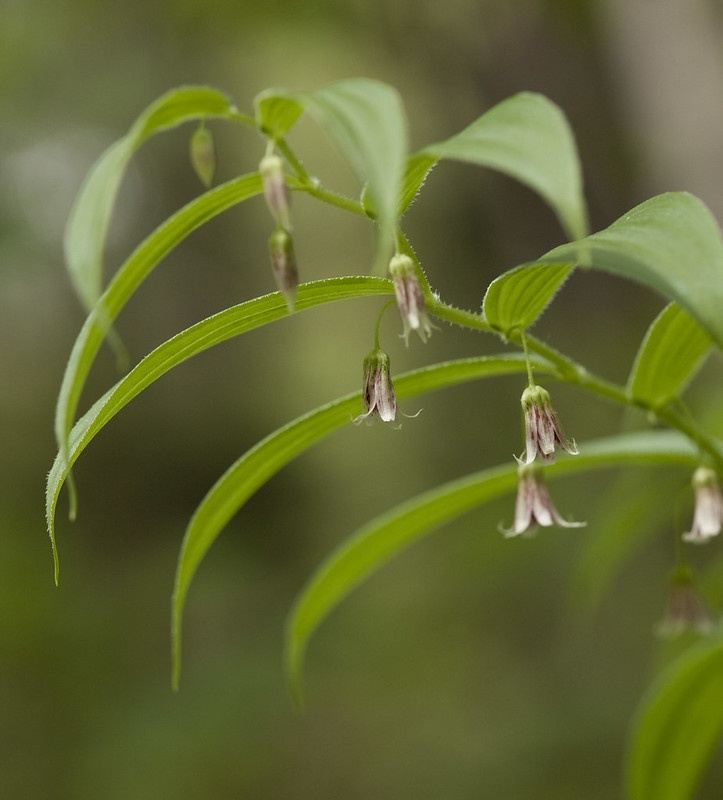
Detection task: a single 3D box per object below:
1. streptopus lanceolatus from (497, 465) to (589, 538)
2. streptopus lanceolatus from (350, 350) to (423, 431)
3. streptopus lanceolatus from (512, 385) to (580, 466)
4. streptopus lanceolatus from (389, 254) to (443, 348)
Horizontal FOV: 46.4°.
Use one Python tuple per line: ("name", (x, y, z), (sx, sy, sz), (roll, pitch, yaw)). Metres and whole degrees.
("streptopus lanceolatus", (0.179, 0.100, 0.872), (0.063, 0.056, 0.056), (-6, 24, -4))
("streptopus lanceolatus", (0.017, -0.011, 0.822), (0.050, 0.072, 0.062), (1, -15, -18))
("streptopus lanceolatus", (0.177, 0.023, 0.823), (0.046, 0.069, 0.090), (-1, 62, -16))
("streptopus lanceolatus", (0.041, -0.092, 0.713), (0.025, 0.080, 0.034), (-9, 35, 12))
